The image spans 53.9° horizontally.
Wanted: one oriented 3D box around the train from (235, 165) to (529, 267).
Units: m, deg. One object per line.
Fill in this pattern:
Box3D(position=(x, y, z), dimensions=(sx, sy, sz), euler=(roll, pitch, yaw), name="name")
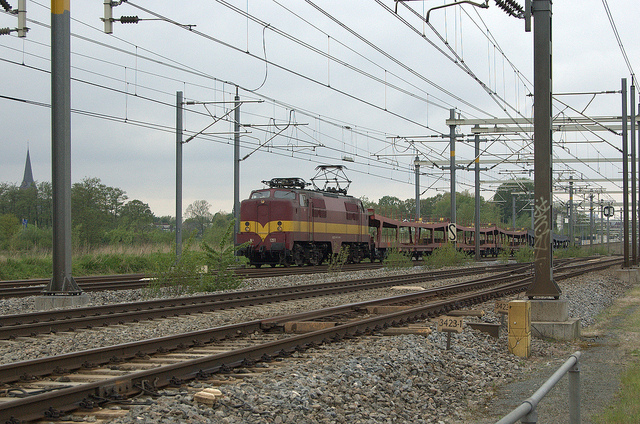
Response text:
Box3D(position=(4.862, 1.009, 44.894), dimensions=(3.448, 5.591, 28.247), euler=(-5, -6, 36), name="train")
